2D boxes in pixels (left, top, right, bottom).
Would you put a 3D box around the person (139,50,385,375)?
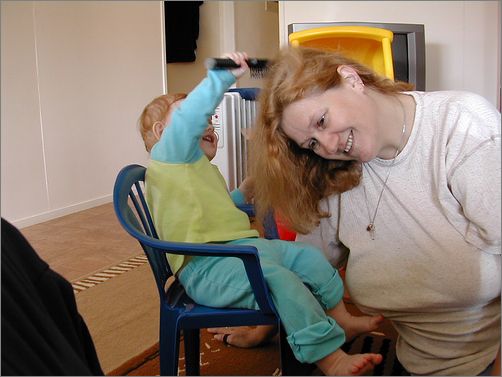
[{"bbox_3d":[-0.002,0.132,1.652,0.943,1.292,0.691,-8,1,5],"label":"person"}]
